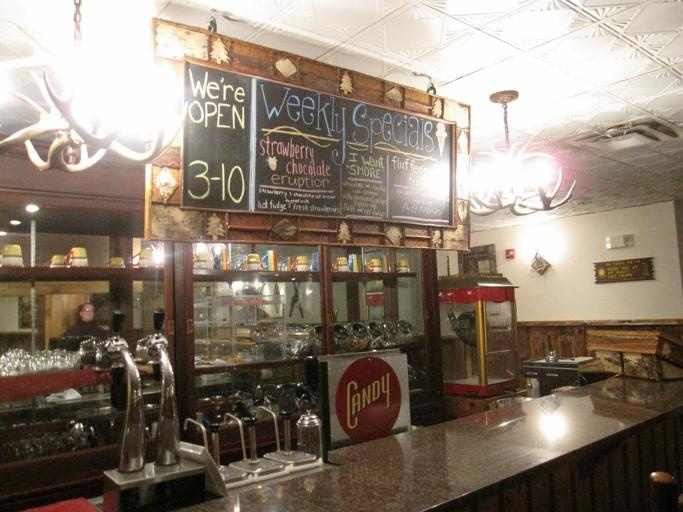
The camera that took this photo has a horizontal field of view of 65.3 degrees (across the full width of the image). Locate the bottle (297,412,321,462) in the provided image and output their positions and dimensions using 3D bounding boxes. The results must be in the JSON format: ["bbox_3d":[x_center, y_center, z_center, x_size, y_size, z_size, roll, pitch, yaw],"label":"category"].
[{"bbox_3d":[-0.185,1.046,3.100,0.129,0.218,0.204,-2,-4,-6],"label":"bottle"}]

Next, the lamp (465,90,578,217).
[{"bbox_3d":[1.578,-1.003,5.048,1.097,1.075,1.103,-7,4,-9],"label":"lamp"}]
